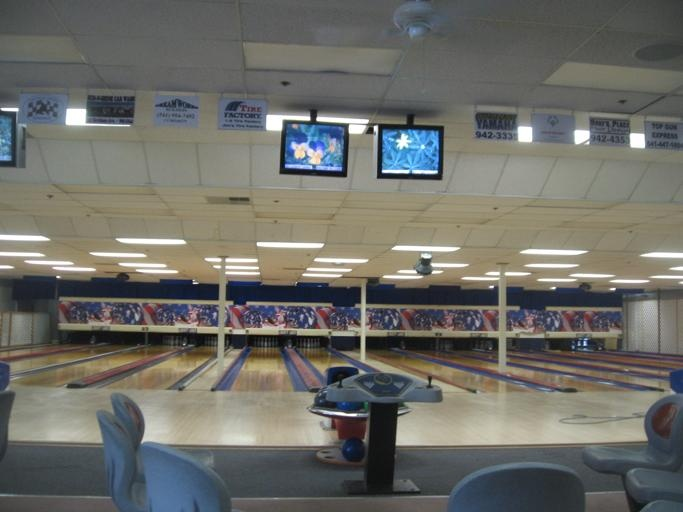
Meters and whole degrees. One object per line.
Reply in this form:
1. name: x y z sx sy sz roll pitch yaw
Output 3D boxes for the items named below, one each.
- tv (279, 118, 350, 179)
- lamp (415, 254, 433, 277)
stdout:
1. tv: -0.271 -1.092 5.795 0.714 0.548 0.074 2 -9 -5
2. lamp: 1.689 0.171 11.793 0.324 0.430 0.607 -1 0 6
